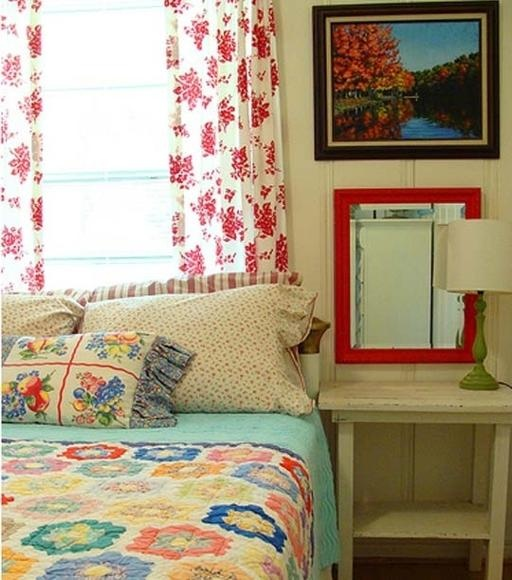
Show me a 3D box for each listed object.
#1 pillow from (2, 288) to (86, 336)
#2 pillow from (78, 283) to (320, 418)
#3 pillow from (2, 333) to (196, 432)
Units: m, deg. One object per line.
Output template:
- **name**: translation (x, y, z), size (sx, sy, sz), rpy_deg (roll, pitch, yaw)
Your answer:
- **pillow**: translation (-0.731, 0.081, 1.985), size (0.215, 0.056, 0.160), rpy_deg (2, 33, -9)
- **pillow**: translation (-0.098, 0.177, 1.822), size (0.854, 0.390, 0.224), rpy_deg (-1, -18, -2)
- **pillow**: translation (-0.449, 0.300, 1.844), size (0.854, 0.219, 0.240), rpy_deg (0, -12, 3)
